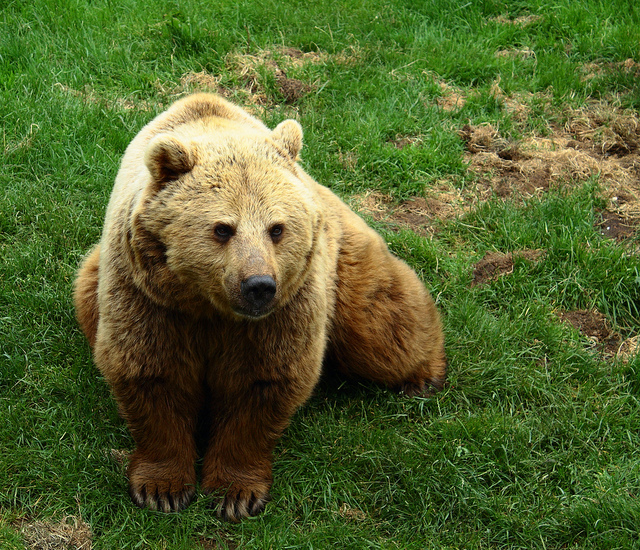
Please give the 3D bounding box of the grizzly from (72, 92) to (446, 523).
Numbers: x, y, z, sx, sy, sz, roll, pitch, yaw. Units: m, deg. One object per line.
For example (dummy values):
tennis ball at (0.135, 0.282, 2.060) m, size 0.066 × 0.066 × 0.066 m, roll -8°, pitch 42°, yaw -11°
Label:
grizzly at (-0.322, 0.244, 5.607) m, size 2.215 × 2.857 × 2.228 m, roll -4°, pitch 33°, yaw -6°
